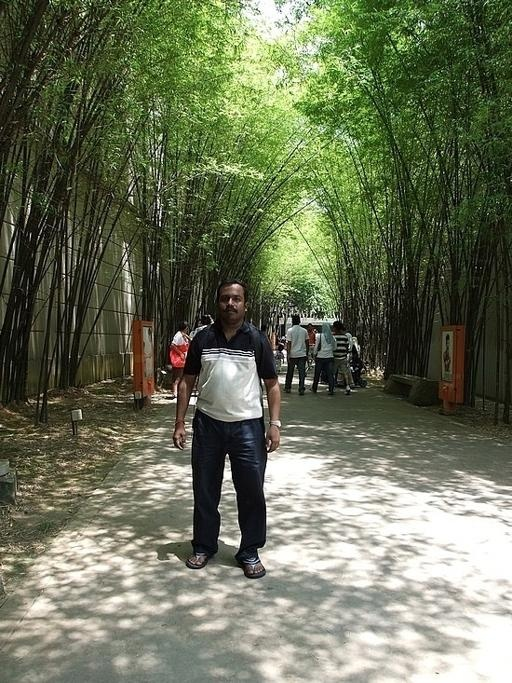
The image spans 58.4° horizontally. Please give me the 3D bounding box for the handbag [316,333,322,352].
[{"bbox_3d":[1.383,0.014,10.062,0.119,0.414,0.344,-1,-5,7],"label":"handbag"}]

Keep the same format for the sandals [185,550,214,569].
[{"bbox_3d":[-0.243,0.904,1.902,0.039,0.043,0.107,4,-15,11],"label":"sandals"}]

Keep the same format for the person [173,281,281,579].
[{"bbox_3d":[-0.118,0.340,1.922,0.437,1.161,0.298,0,-5,-8],"label":"person"}]

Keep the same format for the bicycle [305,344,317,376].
[{"bbox_3d":[2.097,0.735,17.971,0.637,0.865,1.370,3,5,1],"label":"bicycle"}]
